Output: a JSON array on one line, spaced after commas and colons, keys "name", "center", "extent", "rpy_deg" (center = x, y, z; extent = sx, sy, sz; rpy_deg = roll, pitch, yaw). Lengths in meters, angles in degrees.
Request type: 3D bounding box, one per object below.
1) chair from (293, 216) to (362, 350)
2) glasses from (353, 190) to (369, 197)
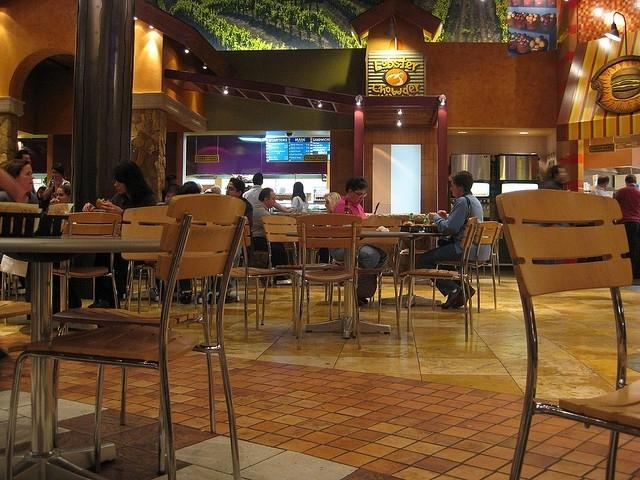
[{"name": "chair", "center": [0.073, 0.346, 5.045], "extent": [0.627, 1.092, 1.868], "rpy_deg": [0, -1, -1]}, {"name": "glasses", "center": [0.476, -0.533, 6.239], "extent": [0.104, 0.078, 0.155], "rpy_deg": [-1, -1, 31]}]
